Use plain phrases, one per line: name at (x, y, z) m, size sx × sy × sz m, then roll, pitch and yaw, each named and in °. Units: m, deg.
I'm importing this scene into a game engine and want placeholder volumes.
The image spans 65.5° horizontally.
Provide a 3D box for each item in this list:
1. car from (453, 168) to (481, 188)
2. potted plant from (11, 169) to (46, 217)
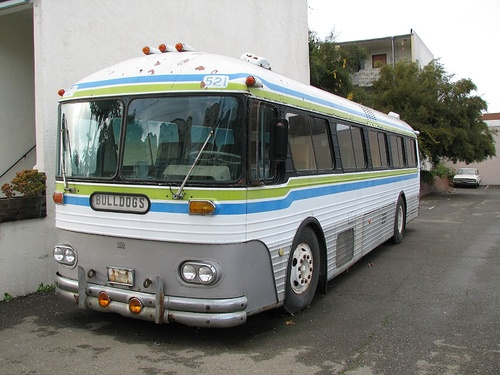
car at (21.443, -0.880, 38.626) m, size 2.182 × 1.832 × 3.892 m, roll 2°, pitch 4°, yaw 29°
potted plant at (-3.989, 0.132, 7.029) m, size 0.653 × 0.879 × 0.534 m, roll -4°, pitch -7°, yaw 20°
